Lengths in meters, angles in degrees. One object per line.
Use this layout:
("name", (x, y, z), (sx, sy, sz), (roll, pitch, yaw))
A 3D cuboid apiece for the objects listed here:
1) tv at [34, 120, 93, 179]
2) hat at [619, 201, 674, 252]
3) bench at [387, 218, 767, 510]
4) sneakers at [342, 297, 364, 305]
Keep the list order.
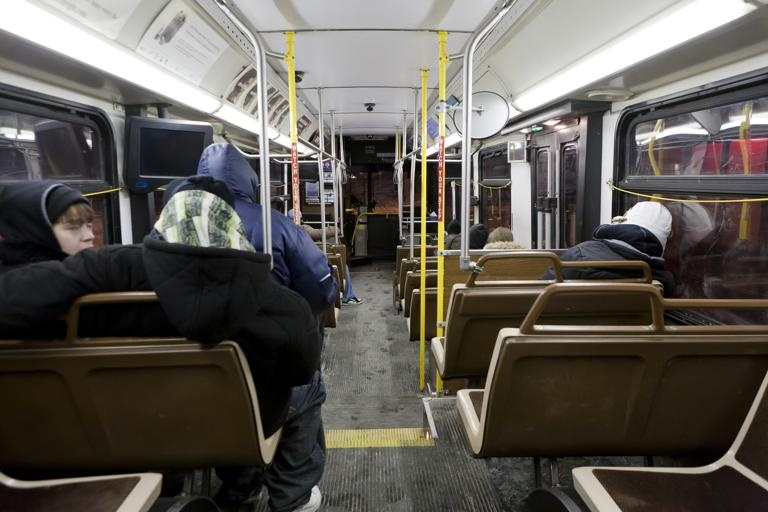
("tv", (-3.014, -0.991, 4.720), (0.427, 0.441, 0.322), (-1, 12, -16))
("hat", (2.373, -0.339, 4.450), (0.371, 0.188, 0.519), (18, 47, 33))
("bench", (1.381, 0.531, 3.471), (1.859, 1.316, 1.856), (-2, 8, -2))
("sneakers", (-0.551, 0.785, 8.835), (0.340, 0.149, 0.122), (-1, 2, -14))
